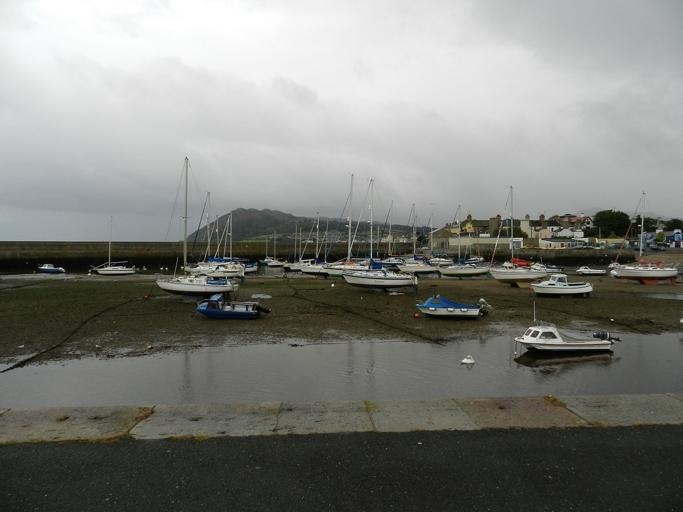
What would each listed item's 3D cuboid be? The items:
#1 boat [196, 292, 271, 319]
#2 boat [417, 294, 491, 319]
[{"bbox_3d":[-5.477,2.678,26.725,3.412,1.087,1.516,3,-1,-3],"label":"boat"},{"bbox_3d":[5.696,2.685,27.053,3.471,1.275,1.516,-1,-3,18],"label":"boat"}]
